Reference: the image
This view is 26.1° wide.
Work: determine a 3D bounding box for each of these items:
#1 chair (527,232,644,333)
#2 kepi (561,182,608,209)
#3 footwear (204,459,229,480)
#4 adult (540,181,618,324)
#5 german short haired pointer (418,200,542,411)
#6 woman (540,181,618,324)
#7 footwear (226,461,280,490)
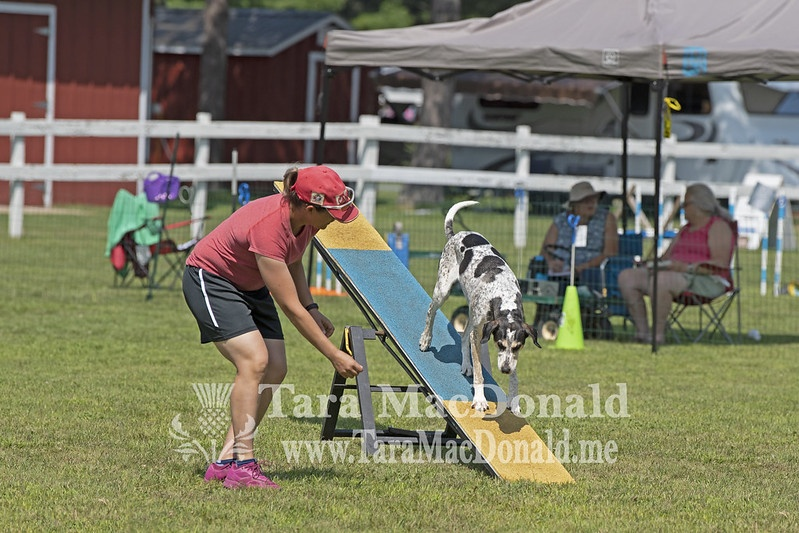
[{"bbox_3d":[2.702,0.389,25.508,1.601,1.886,1.267,2,0,11],"label":"chair"},{"bbox_3d":[2.743,-1.026,25.569,0.423,0.200,0.379,-18,4,22],"label":"kepi"},{"bbox_3d":[-2.178,2.431,20.644,0.366,0.171,0.142,-2,4,-19],"label":"footwear"},{"bbox_3d":[2.684,-0.376,25.675,1.060,1.637,0.982,4,5,15],"label":"adult"},{"bbox_3d":[0.990,0.573,21.920,0.760,2.093,3.134,2,19,-18],"label":"german short haired pointer"},{"bbox_3d":[2.692,-0.365,25.672,1.023,1.676,0.984,3,1,2],"label":"woman"},{"bbox_3d":[-1.795,2.475,20.691,0.693,0.359,0.279,6,-2,1],"label":"footwear"}]
